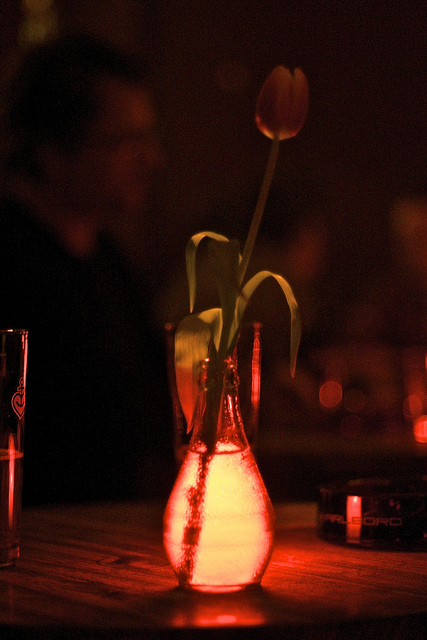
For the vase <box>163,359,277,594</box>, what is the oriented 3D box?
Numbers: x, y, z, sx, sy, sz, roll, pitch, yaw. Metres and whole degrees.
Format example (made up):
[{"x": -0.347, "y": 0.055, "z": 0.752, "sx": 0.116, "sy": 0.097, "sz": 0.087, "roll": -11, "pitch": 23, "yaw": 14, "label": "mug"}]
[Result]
[{"x": 0.006, "y": 0.124, "z": 0.518, "sx": 0.072, "sy": 0.176, "sz": 0.063, "roll": 11, "pitch": 10, "yaw": 40, "label": "vase"}]
